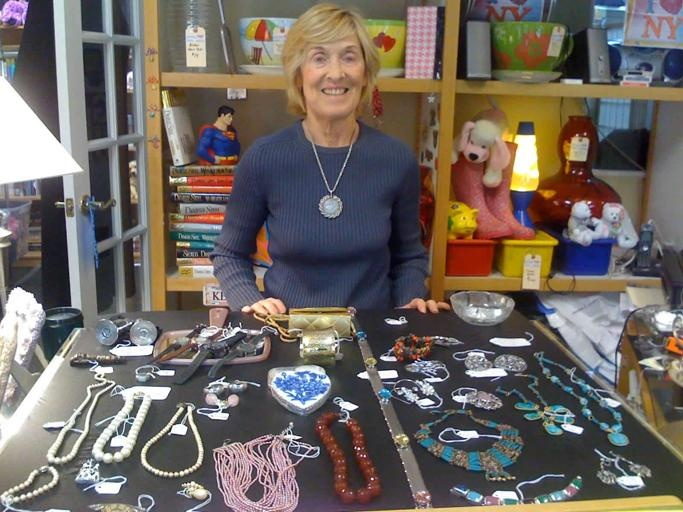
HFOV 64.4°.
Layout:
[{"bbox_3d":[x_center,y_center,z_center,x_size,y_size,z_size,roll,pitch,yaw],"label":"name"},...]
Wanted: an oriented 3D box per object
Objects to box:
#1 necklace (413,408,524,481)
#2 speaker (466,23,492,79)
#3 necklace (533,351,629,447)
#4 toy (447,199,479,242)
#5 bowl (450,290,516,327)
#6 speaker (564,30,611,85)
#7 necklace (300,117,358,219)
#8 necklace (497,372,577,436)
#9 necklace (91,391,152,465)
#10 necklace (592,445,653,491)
[{"bbox_3d":[0.248,0.357,1.049,0.193,0.031,0.163,8,18,29],"label":"necklace"},{"bbox_3d":[0.558,-0.849,2.219,0.097,0.221,0.067,-1,14,1],"label":"speaker"},{"bbox_3d":[0.523,0.304,1.169,0.057,0.023,0.196,-6,20,-11],"label":"necklace"},{"bbox_3d":[0.523,-0.157,2.429,0.109,0.131,0.157,-2,9,-14],"label":"toy"},{"bbox_3d":[0.391,0.148,1.518,0.167,0.068,0.177,0,12,0],"label":"bowl"},{"bbox_3d":[1.053,-0.854,2.318,0.066,0.224,0.193,4,25,0],"label":"speaker"},{"bbox_3d":[-0.026,-0.285,1.840,0.189,0.287,0.173,-2,14,-4],"label":"necklace"},{"bbox_3d":[0.411,0.310,1.143,0.062,0.013,0.135,-5,16,-18],"label":"necklace"},{"bbox_3d":[-0.417,0.330,1.039,0.062,0.029,0.199,13,21,-10],"label":"necklace"},{"bbox_3d":[0.499,0.381,0.975,0.044,0.010,0.065,-6,16,-6],"label":"necklace"}]
